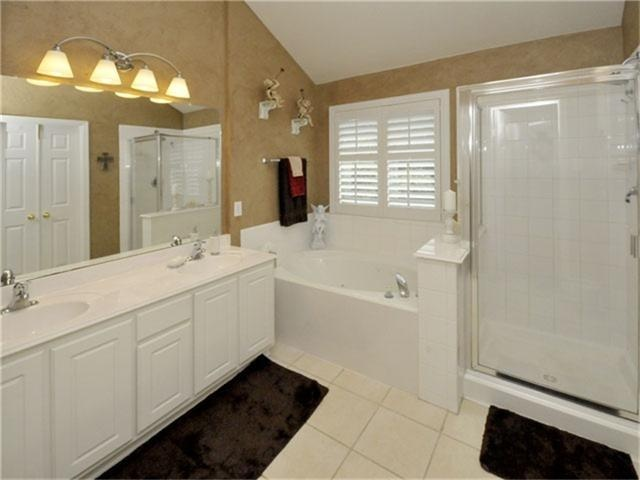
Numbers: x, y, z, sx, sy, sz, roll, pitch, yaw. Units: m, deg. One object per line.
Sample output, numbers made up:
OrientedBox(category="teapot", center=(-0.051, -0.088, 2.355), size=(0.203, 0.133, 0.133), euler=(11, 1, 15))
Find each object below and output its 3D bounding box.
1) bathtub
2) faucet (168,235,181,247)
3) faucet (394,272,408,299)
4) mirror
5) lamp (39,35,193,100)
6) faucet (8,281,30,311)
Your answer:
OrientedBox(category="bathtub", center=(0.298, 0.615, 3.974), size=(1.548, 0.741, 1.023), euler=(5, 13, 31))
OrientedBox(category="faucet", center=(-1.115, 0.016, 3.405), size=(0.033, 0.074, 0.106), euler=(9, 18, 17))
OrientedBox(category="faucet", center=(0.688, 0.388, 3.705), size=(0.054, 0.189, 0.072), euler=(-14, -14, 3))
OrientedBox(category="mirror", center=(-1.477, -0.430, 2.960), size=(0.048, 1.031, 1.421), euler=(3, 2, 35))
OrientedBox(category="lamp", center=(-1.390, -1.145, 3.065), size=(0.284, 0.345, 0.937), euler=(18, 13, 40))
OrientedBox(category="faucet", center=(-1.760, 0.333, 2.571), size=(0.115, 0.158, 0.055), euler=(-10, 13, -38))
